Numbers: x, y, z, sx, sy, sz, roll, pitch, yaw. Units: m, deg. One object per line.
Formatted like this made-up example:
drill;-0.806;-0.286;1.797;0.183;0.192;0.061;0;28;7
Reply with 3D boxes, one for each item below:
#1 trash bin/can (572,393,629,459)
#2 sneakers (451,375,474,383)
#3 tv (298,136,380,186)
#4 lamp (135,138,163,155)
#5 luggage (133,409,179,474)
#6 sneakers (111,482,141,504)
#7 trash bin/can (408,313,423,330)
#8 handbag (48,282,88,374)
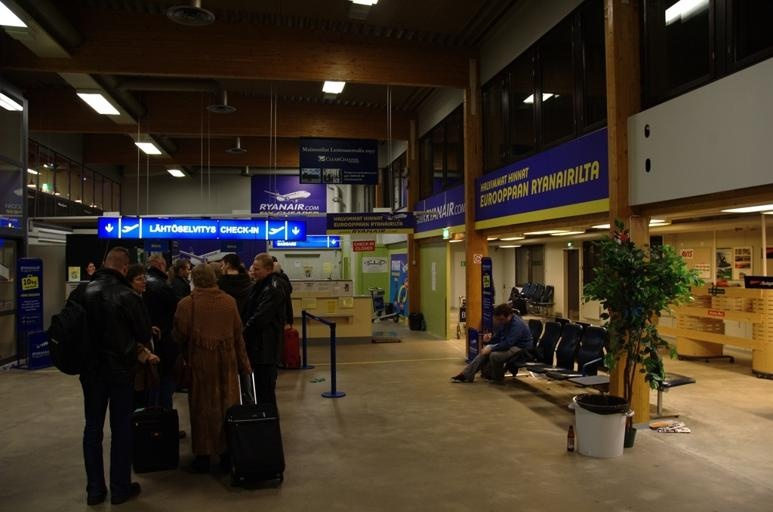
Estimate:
trash bin/can;2.921;2.301;7.732;0.721;0.620;0.762;-1;-6;4
sneakers;1.418;2.297;10.561;0.449;0.173;0.150;1;-3;7
tv;-1.264;-2.510;14.717;2.007;1.190;0.546;-1;7;-10
lamp;-6.978;-3.228;16.438;0.547;0.277;1.547;-2;7;-16
luggage;-2.954;2.279;7.093;0.550;0.721;0.425;4;-10;-28
sneakers;-2.998;2.743;6.504;0.122;0.149;0.358;4;6;21
trash bin/can;0.927;1.975;17.011;0.466;0.486;0.442;0;7;-2
handbag;-3.553;0.845;6.265;0.420;1.043;0.258;-4;8;-30
